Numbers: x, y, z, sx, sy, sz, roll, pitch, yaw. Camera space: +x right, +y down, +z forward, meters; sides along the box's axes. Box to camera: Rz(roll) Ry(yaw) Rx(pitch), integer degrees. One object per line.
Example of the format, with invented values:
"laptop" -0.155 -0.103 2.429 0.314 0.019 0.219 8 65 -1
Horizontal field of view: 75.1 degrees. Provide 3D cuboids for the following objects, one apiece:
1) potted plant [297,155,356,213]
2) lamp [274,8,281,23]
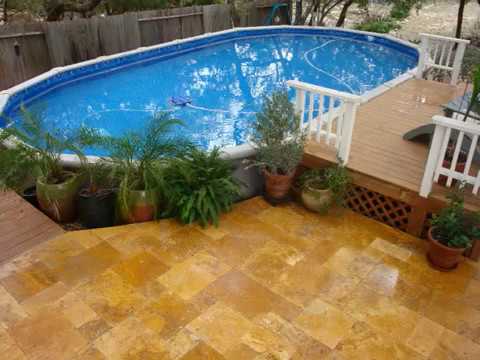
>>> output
"potted plant" 1.244 0.077 4.580 0.729 0.757 0.641 12 35 20
"lamp" 2.044 -8.781 16.749 0.215 0.713 0.631 24 41 35
